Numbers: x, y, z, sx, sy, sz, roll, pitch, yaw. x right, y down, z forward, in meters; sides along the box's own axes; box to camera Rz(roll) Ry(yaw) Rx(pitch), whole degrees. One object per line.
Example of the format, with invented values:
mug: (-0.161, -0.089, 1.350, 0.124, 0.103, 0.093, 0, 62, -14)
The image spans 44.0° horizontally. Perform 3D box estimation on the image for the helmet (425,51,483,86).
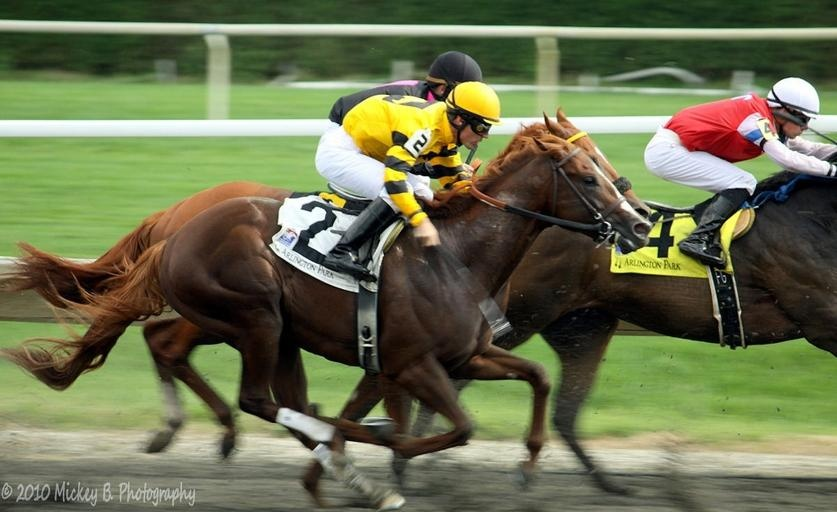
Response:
helmet: (0.330, -1.156, 6.445, 0.395, 0.166, 0.430, -8, 9, -20)

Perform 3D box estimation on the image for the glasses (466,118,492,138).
glasses: (0.340, -0.734, 5.944, 0.155, 0.057, 0.113, 2, 39, -20)

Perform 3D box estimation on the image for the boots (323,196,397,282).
boots: (-0.334, -0.101, 5.905, 0.370, 0.482, 0.216, 6, 22, 1)

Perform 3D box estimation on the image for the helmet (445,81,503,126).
helmet: (0.328, -0.882, 5.980, 0.335, 0.244, 0.231, 6, 18, 6)

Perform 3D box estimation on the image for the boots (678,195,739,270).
boots: (1.822, -0.173, 6.466, 0.314, 0.489, 0.308, 10, 21, 11)

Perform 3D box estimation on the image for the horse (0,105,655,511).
horse: (-0.473, 0.238, 6.066, 3.371, 2.235, 0.950, 5, 22, 4)
